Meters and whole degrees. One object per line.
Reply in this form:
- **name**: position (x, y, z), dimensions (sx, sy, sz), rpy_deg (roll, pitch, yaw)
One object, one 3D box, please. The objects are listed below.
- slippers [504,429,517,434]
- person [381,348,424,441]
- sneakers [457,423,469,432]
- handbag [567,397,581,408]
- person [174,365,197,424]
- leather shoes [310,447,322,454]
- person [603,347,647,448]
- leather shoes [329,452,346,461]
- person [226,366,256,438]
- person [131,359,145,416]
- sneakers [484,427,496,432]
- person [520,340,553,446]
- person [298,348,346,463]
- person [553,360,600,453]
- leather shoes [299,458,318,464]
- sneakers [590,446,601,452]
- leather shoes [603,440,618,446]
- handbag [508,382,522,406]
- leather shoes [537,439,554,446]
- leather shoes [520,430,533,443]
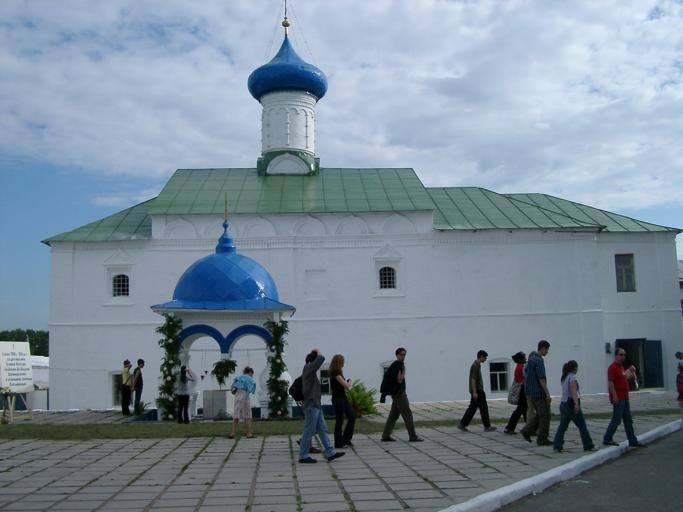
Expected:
- **slippers**: position (3.969, 4.144, 16.191), dimensions (0.266, 0.116, 0.089), rpy_deg (6, -45, 12)
- **person**: position (1.306, 3.195, 16.023), dimensions (0.881, 2.096, 1.464), rpy_deg (-3, -8, 5)
- **sneakers**: position (2.934, 4.149, 16.736), dimensions (0.239, 0.174, 0.350), rpy_deg (-4, -8, 9)
- **handbag**: position (4.779, 2.998, 14.166), dimensions (0.242, 0.325, 0.192), rpy_deg (3, -1, -14)
- **person**: position (-4.378, 3.784, 19.090), dimensions (0.541, 1.539, 0.840), rpy_deg (0, -8, -14)
- **leather shoes**: position (-0.585, 4.100, 14.602), dimensions (0.132, 0.130, 0.213), rpy_deg (-2, -23, 5)
- **person**: position (5.969, 3.035, 14.809), dimensions (0.649, 2.092, 0.920), rpy_deg (-7, -9, 28)
- **leather shoes**: position (-0.133, 4.036, 13.921), dimensions (0.354, 0.153, 0.126), rpy_deg (-18, 22, -19)
- **person**: position (-2.495, 3.535, 16.862), dimensions (0.614, 1.617, 1.479), rpy_deg (-1, -8, -10)
- **person**: position (-6.407, 4.035, 21.342), dimensions (0.325, 1.658, 1.131), rpy_deg (0, -8, -17)
- **sneakers**: position (3.627, 4.209, 16.809), dimensions (0.314, 0.130, 0.104), rpy_deg (-2, 2, -4)
- **person**: position (4.293, 2.991, 15.160), dimensions (0.690, 2.230, 0.921), rpy_deg (-5, -8, 15)
- **person**: position (-0.528, 3.044, 14.130), dimensions (0.795, 2.224, 0.798), rpy_deg (-2, -8, -4)
- **person**: position (4.970, 3.169, 14.871), dimensions (0.827, 1.833, 1.586), rpy_deg (-5, -8, 19)
- **leather shoes**: position (-0.687, 4.068, 13.804), dimensions (0.361, 0.147, 0.129), rpy_deg (0, 0, -1)
- **sneakers**: position (5.265, 3.963, 14.261), dimensions (0.168, 0.070, 0.527), rpy_deg (-6, -9, 27)
- **leather shoes**: position (5.716, 3.941, 14.586), dimensions (0.277, 0.088, 0.347), rpy_deg (-5, -8, 19)
- **handbag**: position (4.117, 3.227, 16.232), dimensions (0.348, 0.507, 0.360), rpy_deg (-4, -8, 13)
- **leather shoes**: position (4.468, 4.012, 14.943), dimensions (0.258, 0.141, 0.495), rpy_deg (-9, -10, 42)
- **leather shoes**: position (4.078, 3.912, 15.055), dimensions (0.164, 0.379, 0.200), rpy_deg (-14, -16, -16)
